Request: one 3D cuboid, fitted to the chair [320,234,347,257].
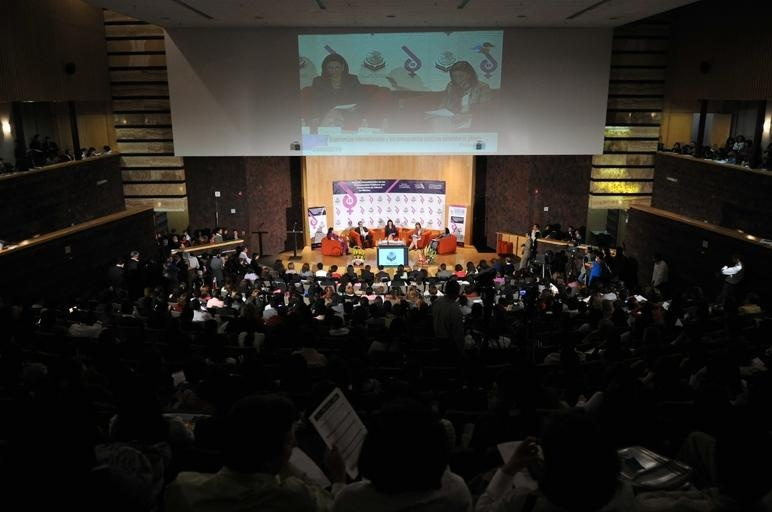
[{"bbox_3d":[-1.746,-0.370,18.674,0.668,0.556,0.699,-2,9,-11],"label":"chair"}]

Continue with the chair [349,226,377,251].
[{"bbox_3d":[-0.807,-0.637,19.484,0.848,0.721,0.795,-2,4,-32],"label":"chair"}]

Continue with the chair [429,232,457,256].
[{"bbox_3d":[1.878,-0.445,18.926,0.806,0.672,0.776,-5,10,-33],"label":"chair"}]

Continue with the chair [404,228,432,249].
[{"bbox_3d":[1.065,-0.593,19.269,0.723,0.627,0.735,6,9,42],"label":"chair"}]

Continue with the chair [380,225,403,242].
[{"bbox_3d":[0.186,-0.789,18.957,0.484,0.656,0.607,0,-4,-3],"label":"chair"}]
